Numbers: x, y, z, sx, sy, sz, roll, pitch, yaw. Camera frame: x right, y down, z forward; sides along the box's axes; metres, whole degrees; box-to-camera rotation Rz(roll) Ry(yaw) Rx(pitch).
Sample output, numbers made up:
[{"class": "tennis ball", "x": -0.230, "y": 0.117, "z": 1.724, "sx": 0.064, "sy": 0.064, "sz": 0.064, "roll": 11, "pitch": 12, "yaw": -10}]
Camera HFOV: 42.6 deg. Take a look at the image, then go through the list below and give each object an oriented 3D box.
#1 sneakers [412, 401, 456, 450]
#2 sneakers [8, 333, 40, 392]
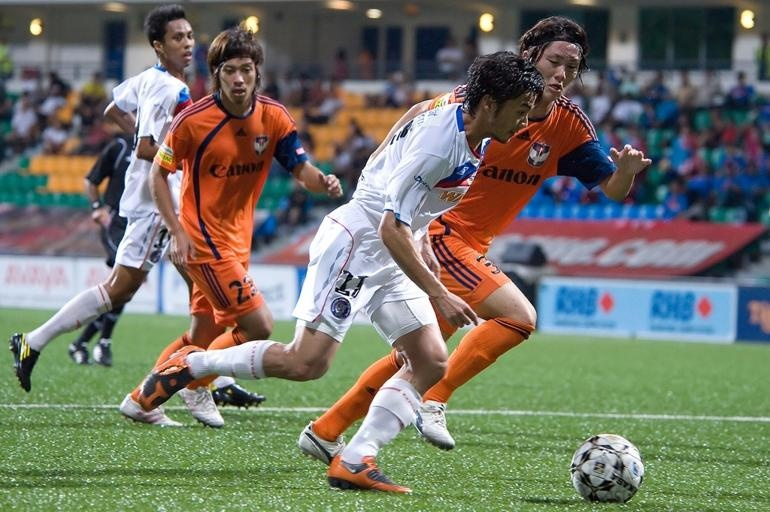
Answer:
[{"class": "sneakers", "x": 0.342, "y": 1.193, "z": 7.091, "sx": 0.176, "sy": 0.238, "sz": 0.518, "roll": 8, "pitch": -3, "yaw": -22}, {"class": "sneakers", "x": -2.886, "y": 0.825, "z": 8.013, "sx": 0.249, "sy": 0.536, "sz": 0.191, "roll": -8, "pitch": 1, "yaw": 11}]
